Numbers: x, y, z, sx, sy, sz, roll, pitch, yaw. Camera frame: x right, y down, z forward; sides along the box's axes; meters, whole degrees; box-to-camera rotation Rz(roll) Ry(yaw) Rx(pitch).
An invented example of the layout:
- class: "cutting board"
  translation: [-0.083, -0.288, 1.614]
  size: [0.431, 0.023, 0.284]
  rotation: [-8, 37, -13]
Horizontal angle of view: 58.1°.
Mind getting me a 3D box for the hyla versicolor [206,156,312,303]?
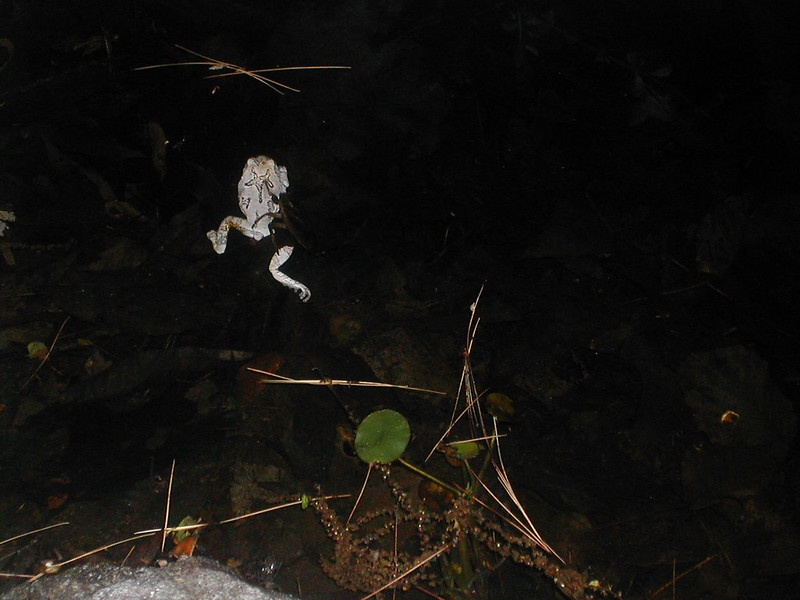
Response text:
- class: "hyla versicolor"
  translation: [-0.978, -0.588, 5.540]
  size: [0.772, 0.771, 0.562]
  rotation: [23, -38, -15]
